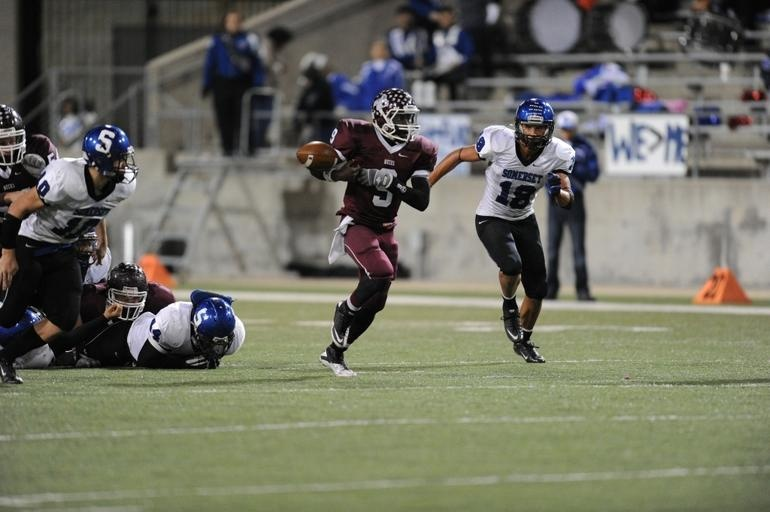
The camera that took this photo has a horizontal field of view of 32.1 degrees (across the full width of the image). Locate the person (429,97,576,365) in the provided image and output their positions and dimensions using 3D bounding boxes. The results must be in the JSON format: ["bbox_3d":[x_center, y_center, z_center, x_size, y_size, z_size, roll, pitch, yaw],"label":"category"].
[{"bbox_3d":[1.132,-0.245,12.369,1.110,2.396,0.742,4,11,10],"label":"person"}]

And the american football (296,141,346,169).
[{"bbox_3d":[-0.569,-0.869,11.513,0.370,0.206,0.204,8,5,0],"label":"american football"}]

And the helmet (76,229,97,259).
[{"bbox_3d":[-2.676,-0.115,11.969,0.085,0.218,0.174,25,19,40],"label":"helmet"}]

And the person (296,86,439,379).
[{"bbox_3d":[-0.169,-0.208,11.584,1.151,2.428,0.610,1,11,-5],"label":"person"}]

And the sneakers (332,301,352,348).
[{"bbox_3d":[-0.380,0.573,11.563,0.199,0.408,0.150,1,-1,34],"label":"sneakers"}]

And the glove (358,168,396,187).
[{"bbox_3d":[-0.078,-0.660,11.413,0.295,0.161,0.181,3,11,4],"label":"glove"}]

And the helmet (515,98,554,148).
[{"bbox_3d":[1.346,-1.232,12.195,0.363,0.380,0.469,5,17,5],"label":"helmet"}]

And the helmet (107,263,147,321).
[{"bbox_3d":[-2.243,0.288,11.593,0.368,0.423,0.496,2,3,-25],"label":"helmet"}]

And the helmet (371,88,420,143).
[{"bbox_3d":[0.065,-1.229,11.623,0.393,0.427,0.494,1,10,-25],"label":"helmet"}]

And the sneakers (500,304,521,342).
[{"bbox_3d":[1.153,0.616,12.409,0.156,0.330,0.152,-7,-4,-14],"label":"sneakers"}]

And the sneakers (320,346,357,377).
[{"bbox_3d":[-0.416,0.860,11.604,0.163,0.199,0.442,-4,11,-35],"label":"sneakers"}]

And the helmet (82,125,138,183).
[{"bbox_3d":[-2.318,-0.864,11.151,0.493,0.426,0.391,4,11,-22],"label":"helmet"}]

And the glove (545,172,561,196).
[{"bbox_3d":[1.506,-0.646,12.095,0.083,0.193,0.145,-5,-16,14],"label":"glove"}]

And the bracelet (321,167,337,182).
[{"bbox_3d":[-0.495,-0.693,11.454,0.123,0.063,0.088,5,3,9],"label":"bracelet"}]
